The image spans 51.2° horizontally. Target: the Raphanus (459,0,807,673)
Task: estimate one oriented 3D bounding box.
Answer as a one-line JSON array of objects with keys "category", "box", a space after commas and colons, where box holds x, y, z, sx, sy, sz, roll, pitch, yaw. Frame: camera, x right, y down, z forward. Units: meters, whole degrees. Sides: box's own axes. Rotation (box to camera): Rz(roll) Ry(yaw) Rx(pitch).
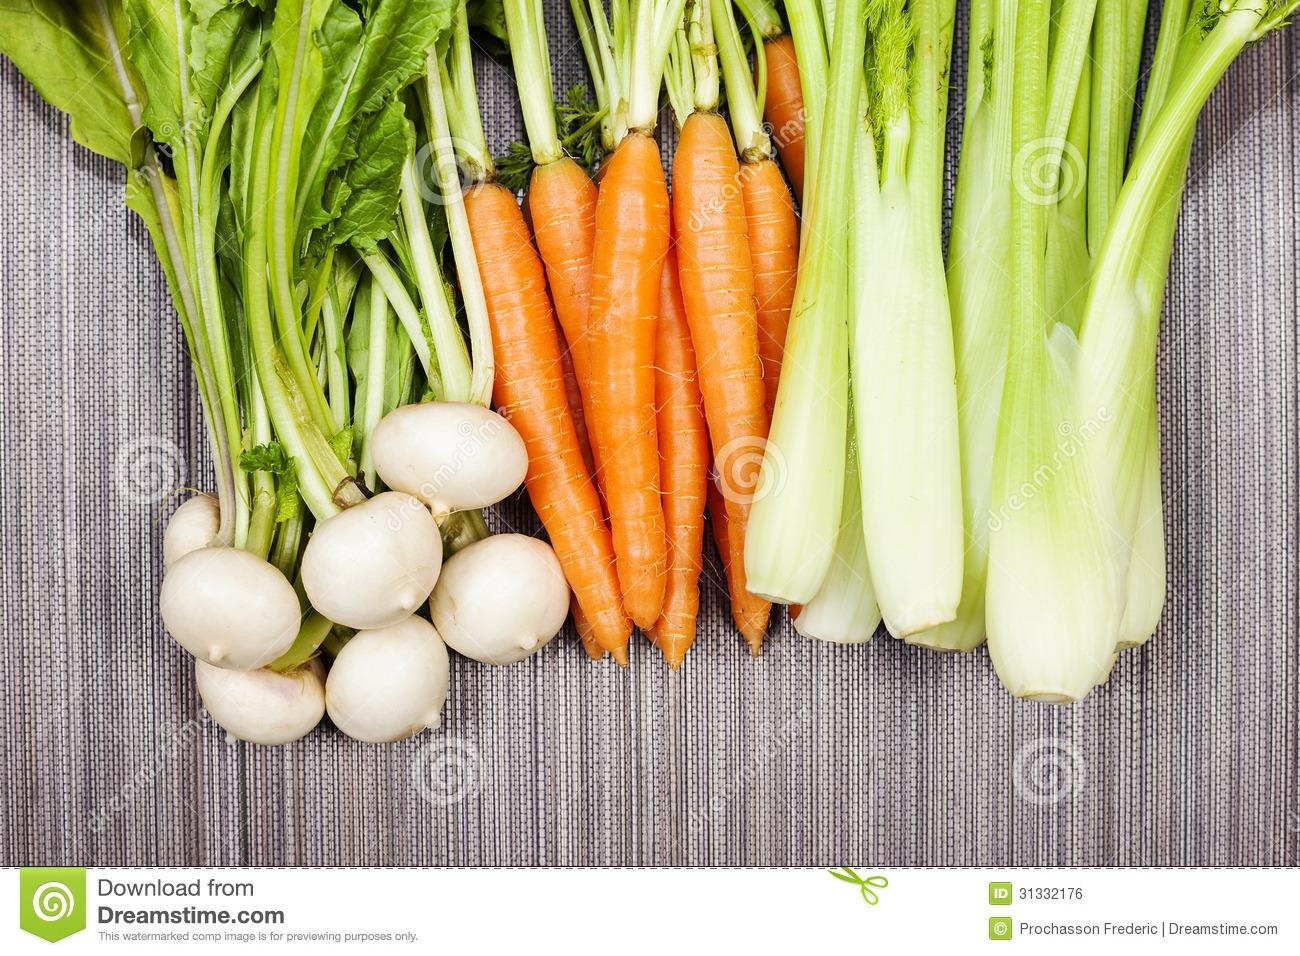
[{"category": "Raphanus", "box": [-0.058, -0.144, 1.580, 0.375, 0.157, 0.794, -9, 93, -8]}]
